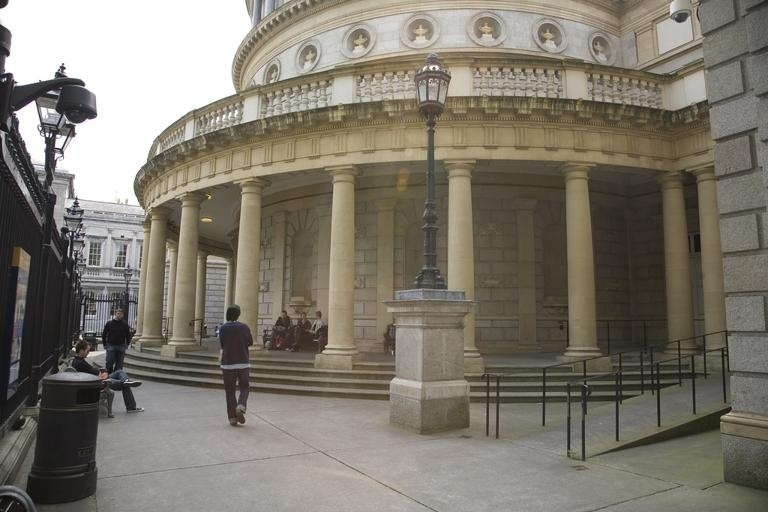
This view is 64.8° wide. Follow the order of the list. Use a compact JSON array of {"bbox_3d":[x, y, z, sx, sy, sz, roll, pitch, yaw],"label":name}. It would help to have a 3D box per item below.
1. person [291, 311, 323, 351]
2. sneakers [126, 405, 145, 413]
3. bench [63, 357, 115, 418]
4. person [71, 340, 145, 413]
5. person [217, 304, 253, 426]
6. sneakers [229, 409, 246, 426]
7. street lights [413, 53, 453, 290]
[{"bbox_3d":[-3.004,3.045,23.998,1.485,1.847,1.058,-1,-11,10],"label":"person"},{"bbox_3d":[-6.144,3.811,15.014,0.376,0.149,0.134,0,-1,-17],"label":"sneakers"},{"bbox_3d":[-6.862,3.305,14.635,0.905,1.169,0.915,11,-28,-26],"label":"bench"},{"bbox_3d":[-6.704,2.976,14.770,1.587,1.753,0.903,0,-4,-22],"label":"person"},{"bbox_3d":[-3.517,2.550,14.347,0.794,2.757,0.846,0,-7,2],"label":"person"},{"bbox_3d":[-3.338,3.637,13.884,0.247,0.494,0.215,4,20,8],"label":"sneakers"},{"bbox_3d":[1.117,-2.058,14.424,0.707,5.677,0.686,4,-8,-29],"label":"street lights"}]
